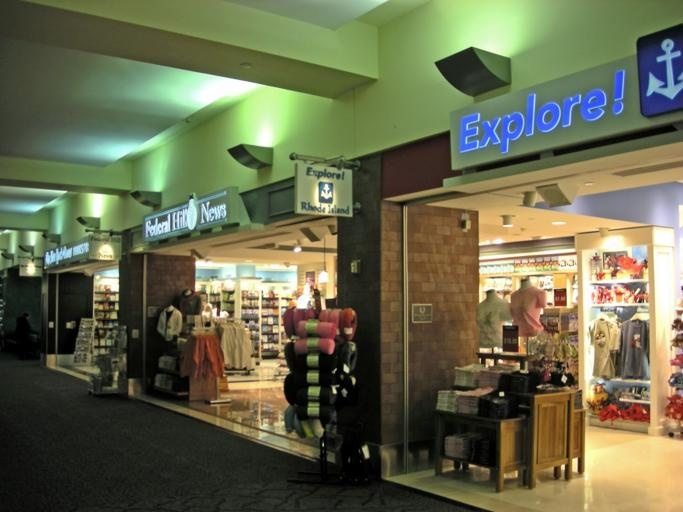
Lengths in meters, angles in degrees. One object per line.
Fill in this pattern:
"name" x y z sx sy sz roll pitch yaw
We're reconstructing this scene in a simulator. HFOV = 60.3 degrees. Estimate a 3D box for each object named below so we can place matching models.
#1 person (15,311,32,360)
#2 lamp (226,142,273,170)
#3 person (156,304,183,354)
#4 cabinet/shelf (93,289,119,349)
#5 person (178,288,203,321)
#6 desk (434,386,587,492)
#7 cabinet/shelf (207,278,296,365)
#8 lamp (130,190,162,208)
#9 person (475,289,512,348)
"person" -12.046 2.999 22.241 0.525 1.617 1.860 2 -4 -28
"lamp" -1.392 -1.500 8.948 0.547 0.337 0.471 2 -4 -32
"person" -3.869 1.548 13.120 0.470 0.979 0.258 7 21 -8
"cabinet/shelf" -7.885 2.111 19.578 0.726 1.900 1.304 1 -4 -24
"person" -3.505 1.123 13.447 0.636 0.866 0.338 2 -12 -18
"desk" 2.081 2.005 7.031 1.436 0.921 1.086 -1 0 -38
"cabinet/shelf" -3.175 2.095 19.977 2.833 2.678 1.965 0 -3 3
"lamp" -4.046 -1.171 12.186 0.452 0.381 0.534 2 -4 -36
"person" 1.990 0.831 7.744 0.254 0.779 0.444 3 -5 -44
